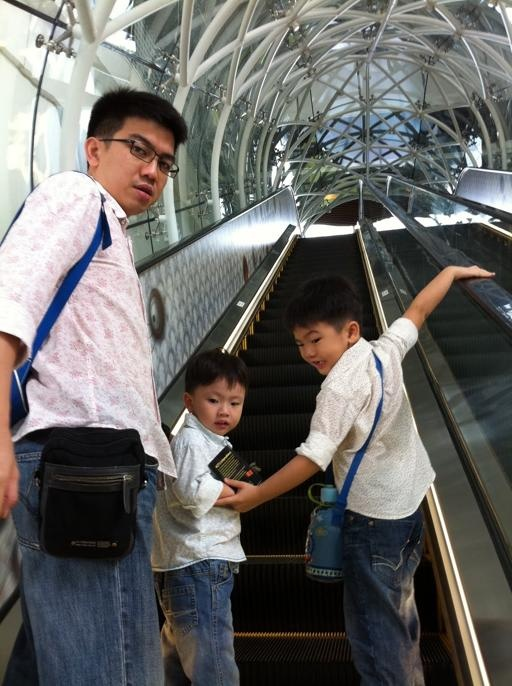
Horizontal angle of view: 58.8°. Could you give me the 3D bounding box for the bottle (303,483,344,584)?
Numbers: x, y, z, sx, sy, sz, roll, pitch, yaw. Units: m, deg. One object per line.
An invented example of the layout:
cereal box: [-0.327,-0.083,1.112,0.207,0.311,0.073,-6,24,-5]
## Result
bottle: [0.303,0.786,1.930,0.146,0.393,0.165,10,-14,-16]
